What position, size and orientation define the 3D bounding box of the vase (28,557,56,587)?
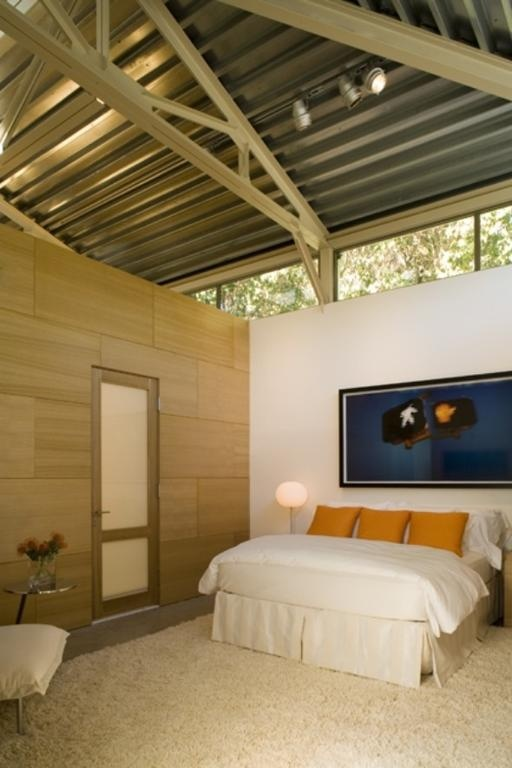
[{"bbox_3d":[-1.298,1.156,3.241,0.154,0.187,0.161,-3,-7,16],"label":"vase"}]
